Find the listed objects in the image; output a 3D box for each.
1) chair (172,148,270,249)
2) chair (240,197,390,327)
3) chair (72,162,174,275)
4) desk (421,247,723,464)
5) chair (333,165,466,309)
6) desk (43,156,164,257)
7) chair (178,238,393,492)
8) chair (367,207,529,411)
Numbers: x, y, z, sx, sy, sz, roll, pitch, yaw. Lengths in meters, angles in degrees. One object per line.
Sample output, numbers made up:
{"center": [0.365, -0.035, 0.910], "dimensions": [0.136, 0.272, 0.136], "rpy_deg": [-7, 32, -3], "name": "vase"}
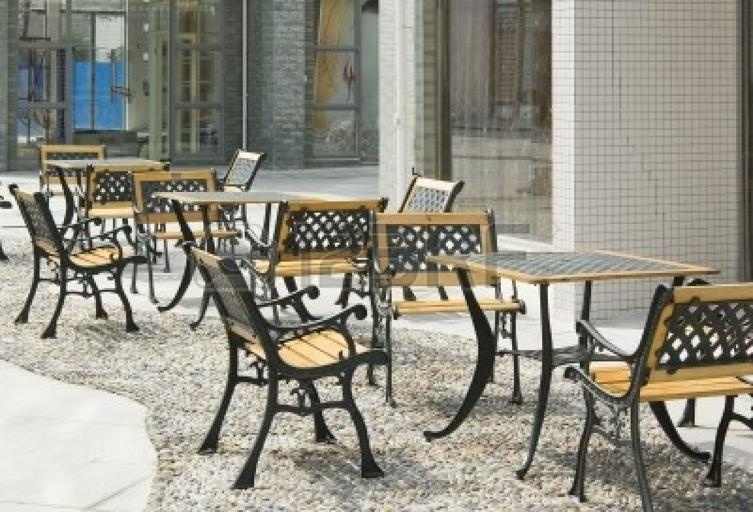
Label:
{"center": [-1.439, -0.568, 10.716], "dimensions": [0.925, 1.224, 0.833], "rpy_deg": [-1, 4, -24], "name": "chair"}
{"center": [-0.440, 0.064, 7.743], "dimensions": [0.796, 0.801, 1.265], "rpy_deg": [-1, 0, -8], "name": "chair"}
{"center": [-2.448, -0.372, 10.251], "dimensions": [0.855, 1.197, 0.855], "rpy_deg": [-2, 12, -20], "name": "chair"}
{"center": [0.923, 0.419, 5.942], "dimensions": [1.154, 1.049, 1.197], "rpy_deg": [-2, 3, -21], "name": "desk"}
{"center": [0.258, -0.226, 8.523], "dimensions": [0.520, 0.659, 0.691], "rpy_deg": [-4, 8, -23], "name": "chair"}
{"center": [-2.490, -0.463, 10.440], "dimensions": [1.102, 0.820, 1.083], "rpy_deg": [1, 8, -32], "name": "desk"}
{"center": [-0.488, 0.479, 5.685], "dimensions": [0.854, 1.085, 1.001], "rpy_deg": [-5, 13, -21], "name": "chair"}
{"center": [0.409, 0.297, 6.482], "dimensions": [0.749, 1.034, 0.749], "rpy_deg": [-2, 4, -14], "name": "chair"}
